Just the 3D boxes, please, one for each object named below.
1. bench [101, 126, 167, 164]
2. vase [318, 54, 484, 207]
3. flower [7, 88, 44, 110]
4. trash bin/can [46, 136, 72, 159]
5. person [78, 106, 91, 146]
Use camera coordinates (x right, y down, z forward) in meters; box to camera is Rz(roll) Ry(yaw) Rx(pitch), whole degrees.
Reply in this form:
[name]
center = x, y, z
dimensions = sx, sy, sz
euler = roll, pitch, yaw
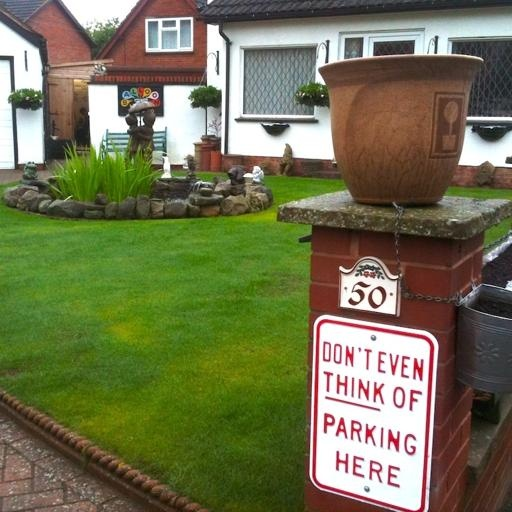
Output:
[bench]
center = -4.342, -3.889, 17.748
dimensions = 2.416, 1.177, 1.443
euler = 1, 12, 7
[vase]
center = 0.454, -0.382, 1.680
dimensions = 0.416, 0.394, 0.458
euler = 0, 8, 3
[flower]
center = -8.128, -5.551, 17.862
dimensions = 0.775, 0.655, 0.849
euler = 4, 13, 9
[trash bin/can]
center = -8.657, -4.787, 22.190
dimensions = 0.862, 0.965, 2.641
euler = -4, 14, -15
[person]
center = -8.675, -6.519, 25.345
dimensions = 0.532, 1.875, 0.660
euler = -3, 11, -12
